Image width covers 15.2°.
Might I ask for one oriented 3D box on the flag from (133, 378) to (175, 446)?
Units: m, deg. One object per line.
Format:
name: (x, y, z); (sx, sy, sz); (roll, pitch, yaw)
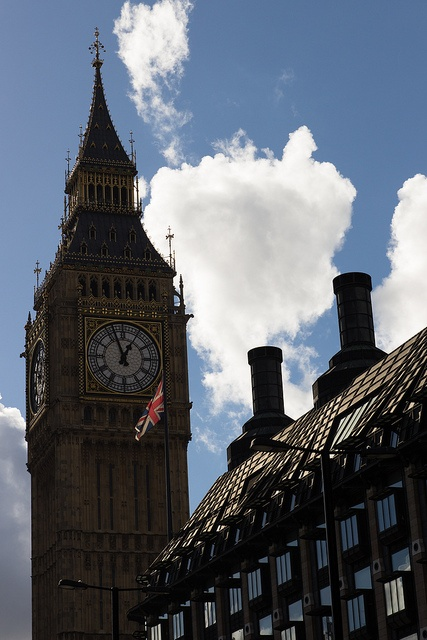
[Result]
flag: (-4.290, 5.862, 103.599); (1.021, 5.847, 1.295); (17, -39, -36)
